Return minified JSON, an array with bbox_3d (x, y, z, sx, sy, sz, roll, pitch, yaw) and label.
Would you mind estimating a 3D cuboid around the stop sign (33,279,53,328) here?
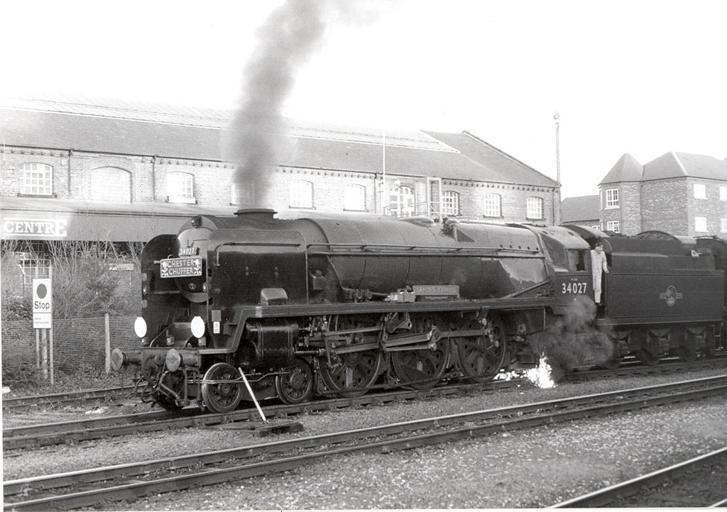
[{"bbox_3d":[-8.166,1.187,15.963,0.587,1.281,0.296,1,1,7],"label":"stop sign"}]
